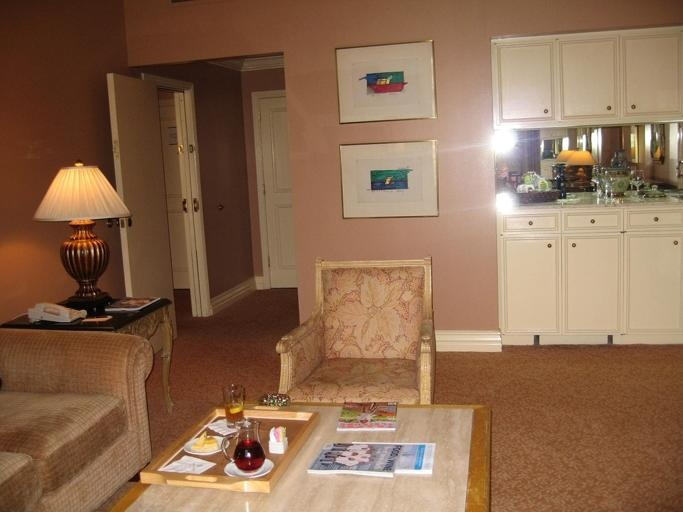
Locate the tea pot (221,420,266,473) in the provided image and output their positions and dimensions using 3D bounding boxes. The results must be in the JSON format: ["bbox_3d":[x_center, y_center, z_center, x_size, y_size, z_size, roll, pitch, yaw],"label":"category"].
[{"bbox_3d":[-0.407,0.795,2.229,0.189,0.185,0.132,-4,-9,-22],"label":"tea pot"}]

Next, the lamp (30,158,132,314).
[{"bbox_3d":[-1.743,-0.125,3.653,0.549,1.004,0.371,0,13,17],"label":"lamp"}]

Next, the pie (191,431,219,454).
[{"bbox_3d":[-0.607,0.823,2.420,0.080,0.031,0.092,5,2,-3],"label":"pie"}]

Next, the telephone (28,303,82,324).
[{"bbox_3d":[-1.886,0.373,3.542,0.224,0.090,0.158,-1,0,-5],"label":"telephone"}]

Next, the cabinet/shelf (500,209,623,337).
[{"bbox_3d":[1.967,0.103,4.763,1.066,1.291,0.490,0,4,7],"label":"cabinet/shelf"}]

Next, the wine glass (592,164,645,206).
[{"bbox_3d":[2.595,-0.704,5.065,0.458,0.296,0.315,1,13,23],"label":"wine glass"}]

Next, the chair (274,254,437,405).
[{"bbox_3d":[0.157,0.491,3.518,0.894,1.270,0.948,1,5,10],"label":"chair"}]

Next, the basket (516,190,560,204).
[{"bbox_3d":[1.800,-0.540,4.937,0.381,0.108,0.173,-6,12,-11],"label":"basket"}]

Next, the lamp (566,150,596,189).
[{"bbox_3d":[2.275,-0.822,5.194,0.303,0.401,0.343,0,6,10],"label":"lamp"}]
